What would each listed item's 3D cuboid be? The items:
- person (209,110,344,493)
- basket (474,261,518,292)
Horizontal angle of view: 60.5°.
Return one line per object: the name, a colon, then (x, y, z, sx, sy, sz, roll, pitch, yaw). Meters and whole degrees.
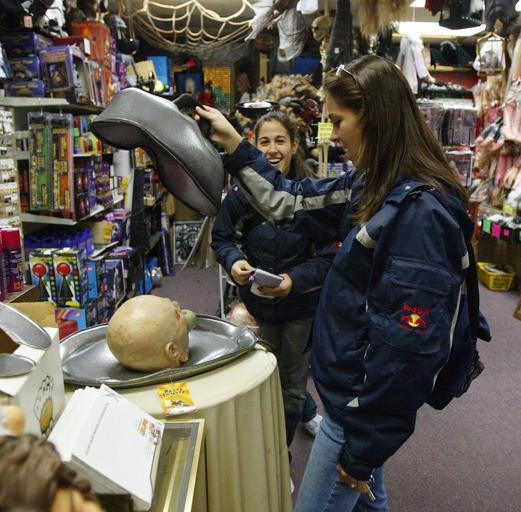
person: (0.071, 0.192, 2.042, 0.531, 1.589, 0.479, 4, 25, 14)
basket: (2.895, 0.271, 5.612, 0.236, 0.186, 0.469, -1, 4, 3)
